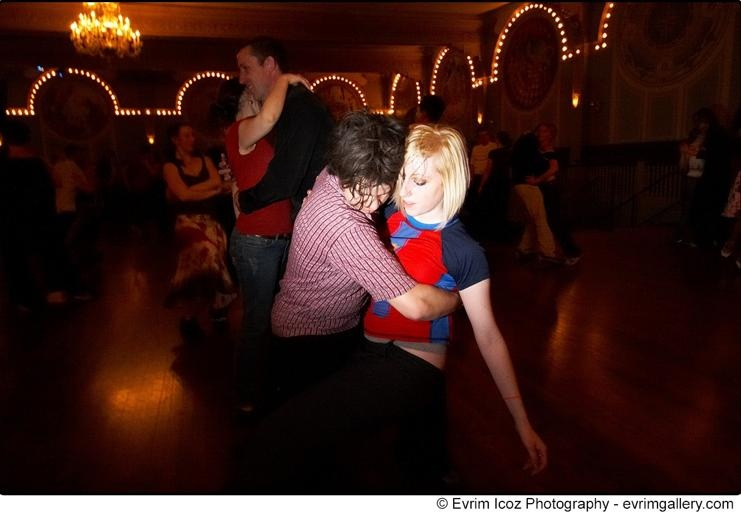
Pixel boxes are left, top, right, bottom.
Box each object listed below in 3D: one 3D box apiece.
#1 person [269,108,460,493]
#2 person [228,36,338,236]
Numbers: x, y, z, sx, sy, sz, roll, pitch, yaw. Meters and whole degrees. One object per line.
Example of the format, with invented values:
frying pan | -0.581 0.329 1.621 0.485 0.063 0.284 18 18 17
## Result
person | -0.021 0.009 2.314 0.731 1.188 0.772 4 33 -13
person | -0.578 -0.552 2.966 0.624 1.265 0.543 -11 31 -35
